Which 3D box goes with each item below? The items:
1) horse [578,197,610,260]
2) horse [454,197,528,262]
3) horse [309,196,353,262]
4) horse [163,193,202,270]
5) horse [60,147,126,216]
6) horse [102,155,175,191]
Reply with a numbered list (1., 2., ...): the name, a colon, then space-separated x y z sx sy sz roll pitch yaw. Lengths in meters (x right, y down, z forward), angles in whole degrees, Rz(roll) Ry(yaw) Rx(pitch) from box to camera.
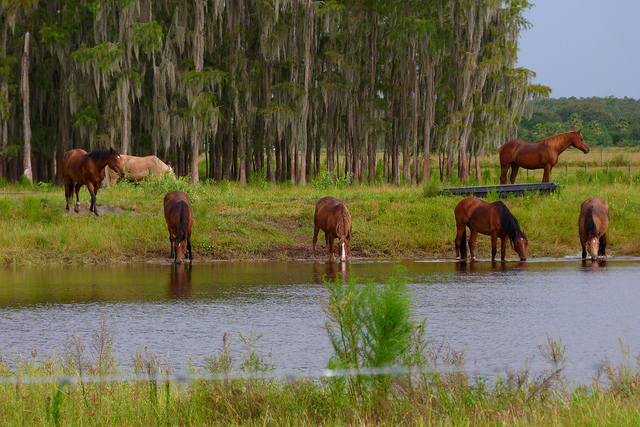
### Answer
1. horse: 13.001 0.679 53.353 1.201 2.787 1.546 0 0 41
2. horse: 8.051 0.864 53.364 1.153 3.292 4.545 -3 7 -37
3. horse: 0.561 0.455 52.000 1.007 2.543 3.980 1 2 -10
4. horse: -6.724 0.497 53.029 1.164 3.291 5.292 2 9 -12
5. horse: -11.538 -2.206 55.401 2.231 4.169 5.278 1 -2 -24
6. horse: -9.928 -1.733 61.449 4.375 3.060 1.204 3 -11 -18
